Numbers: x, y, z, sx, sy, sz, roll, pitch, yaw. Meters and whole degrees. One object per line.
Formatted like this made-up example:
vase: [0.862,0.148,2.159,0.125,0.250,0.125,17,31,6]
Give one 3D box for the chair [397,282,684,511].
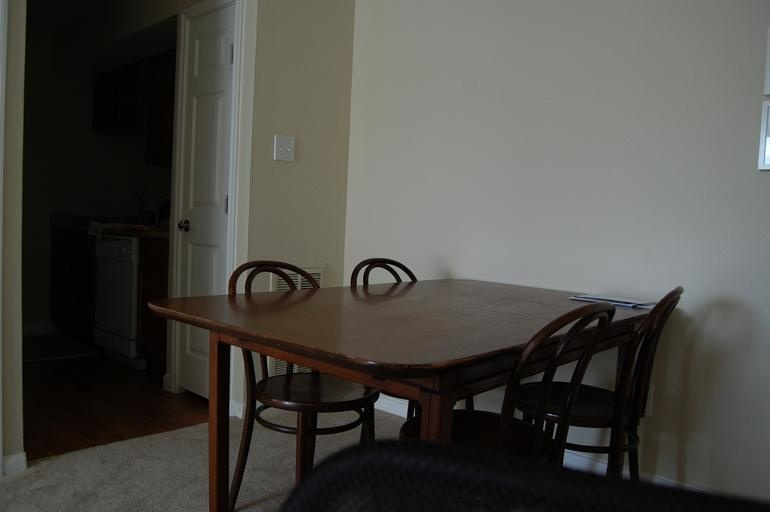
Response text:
chair: [0.668,0.569,2.083,1.091,0.881,0.615,-5,9,-44]
